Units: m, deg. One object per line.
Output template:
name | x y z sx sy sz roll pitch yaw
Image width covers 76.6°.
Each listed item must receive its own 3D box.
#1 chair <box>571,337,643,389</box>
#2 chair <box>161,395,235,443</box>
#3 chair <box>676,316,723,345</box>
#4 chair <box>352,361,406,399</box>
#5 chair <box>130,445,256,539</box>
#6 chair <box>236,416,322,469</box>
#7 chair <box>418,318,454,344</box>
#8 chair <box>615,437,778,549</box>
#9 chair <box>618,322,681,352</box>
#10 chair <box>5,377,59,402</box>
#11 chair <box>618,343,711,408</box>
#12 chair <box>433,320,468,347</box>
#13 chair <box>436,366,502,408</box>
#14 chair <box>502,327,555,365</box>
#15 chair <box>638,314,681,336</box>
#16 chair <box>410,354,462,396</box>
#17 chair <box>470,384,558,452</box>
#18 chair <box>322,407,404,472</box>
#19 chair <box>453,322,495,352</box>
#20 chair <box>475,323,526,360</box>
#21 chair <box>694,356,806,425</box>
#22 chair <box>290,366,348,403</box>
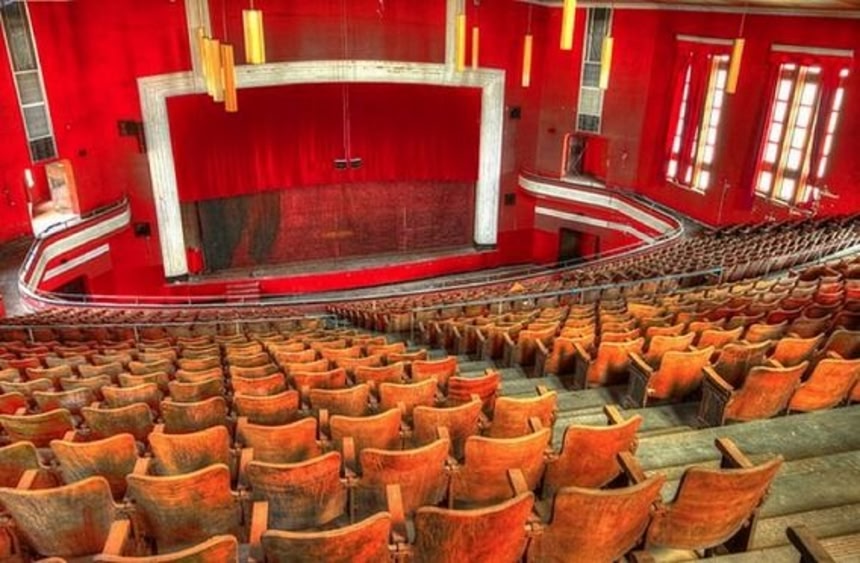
chair | 1.819 0.831 5.649 0.552 0.639 0.469 -2 21 -7
chair | -1.986 1.124 4.851 0.460 0.569 0.422 -1 36 -13
chair | 2.928 0.537 5.888 0.198 0.256 0.190 -9 37 -7
chair | -0.509 0.934 5.534 0.385 0.448 0.341 -3 39 -8
chair | -1.549 1.395 3.848 0.705 0.866 0.626 -3 45 -13
chair | -1.158 1.152 4.265 0.488 0.583 0.406 -1 39 -11
chair | 0.074 0.743 8.105 0.429 0.475 0.405 -4 33 -7
chair | 1.735 1.395 3.521 0.577 0.636 0.445 -8 39 -7
chair | 2.330 0.590 5.747 0.223 0.285 0.208 -7 39 -4
chair | -4.260 1.131 5.814 0.312 0.384 0.287 -1 35 -18
chair | 2.300 0.912 5.262 0.658 0.765 0.566 -6 18 -11
chair | 0.288 0.766 7.628 0.414 0.467 0.412 -5 31 -9
chair | 0.363 0.940 4.976 0.436 0.535 0.388 -7 42 -9
chair | 1.118 0.738 6.614 0.570 0.552 0.471 -4 31 -7
chair | 2.673 0.503 6.279 0.180 0.239 0.171 -6 41 -4
chair | 0.065 0.892 5.503 0.403 0.499 0.367 -6 43 -7
chair | 0.695 1.181 4.616 0.634 0.730 0.535 2 17 -1
chair | -0.510 1.190 4.170 0.455 0.560 0.418 -3 36 -12
chair | 0.537 0.742 7.198 0.436 0.503 0.428 -5 30 -9
chair | 0.896 0.702 7.072 0.563 0.523 0.447 -6 29 -10
chair | 2.808 1.009 4.784 0.720 0.767 0.576 -2 16 -9
chair | -1.098 1.013 5.452 0.349 0.411 0.339 -1 29 -9
